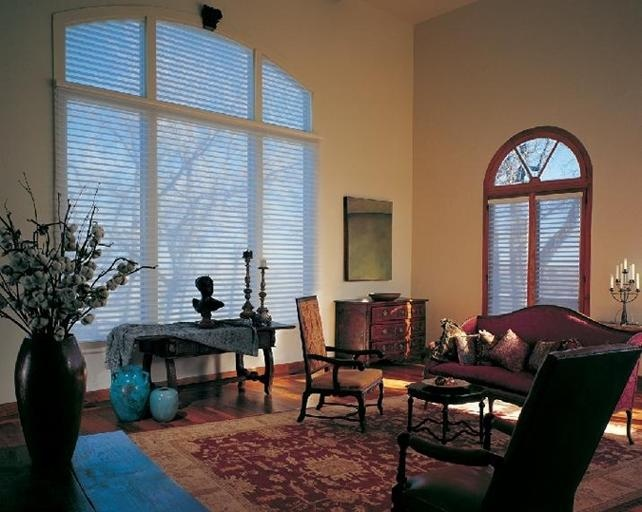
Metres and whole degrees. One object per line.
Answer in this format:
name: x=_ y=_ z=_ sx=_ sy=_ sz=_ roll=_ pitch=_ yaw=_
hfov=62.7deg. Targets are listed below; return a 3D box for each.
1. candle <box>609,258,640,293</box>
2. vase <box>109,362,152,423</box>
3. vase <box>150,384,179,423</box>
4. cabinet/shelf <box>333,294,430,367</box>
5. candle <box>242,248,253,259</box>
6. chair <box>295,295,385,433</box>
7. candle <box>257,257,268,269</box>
candle: x=3.401 y=0.240 z=5.893 sx=0.361 sy=0.422 sz=0.375 roll=0 pitch=-3 yaw=8
vase: x=-1.697 y=1.242 z=4.780 sx=0.392 sy=0.429 sz=0.374 roll=-3 pitch=-3 yaw=-18
vase: x=-1.378 y=1.298 z=4.632 sx=0.287 sy=0.251 sz=0.278 roll=1 pitch=-2 yaw=2
cabinet/shelf: x=0.882 y=1.050 z=7.350 sx=0.584 sy=0.833 sz=1.385 roll=-1 pitch=-3 yaw=44
candle: x=-0.824 y=-0.022 z=5.868 sx=0.024 sy=0.129 sz=0.125 roll=-5 pitch=-5 yaw=39
chair: x=0.190 y=0.974 z=4.905 sx=0.733 sy=1.042 sz=0.681 roll=1 pitch=-1 yaw=22
candle: x=-0.593 y=0.076 z=5.656 sx=0.126 sy=0.130 sz=0.124 roll=-2 pitch=6 yaw=-27
